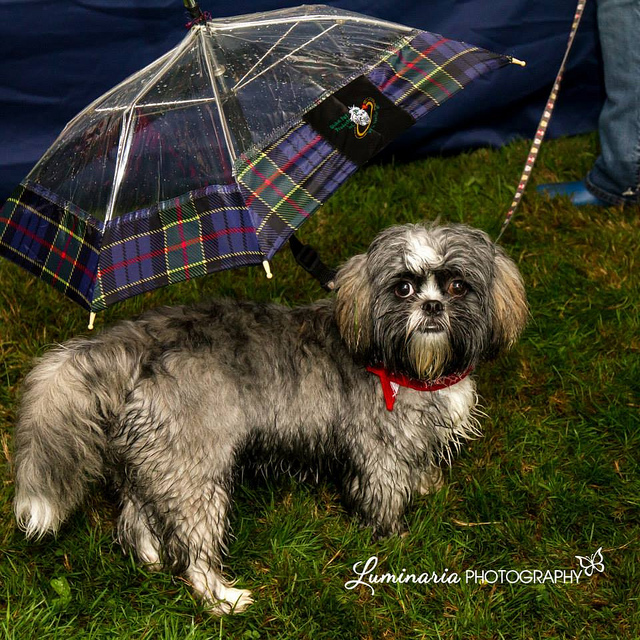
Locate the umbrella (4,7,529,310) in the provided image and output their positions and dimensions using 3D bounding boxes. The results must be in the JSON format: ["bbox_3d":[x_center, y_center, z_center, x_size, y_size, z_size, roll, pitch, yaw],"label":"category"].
[{"bbox_3d":[-0.298,-0.718,2.614,1.767,0.857,1.150,-20,28,-24],"label":"umbrella"}]

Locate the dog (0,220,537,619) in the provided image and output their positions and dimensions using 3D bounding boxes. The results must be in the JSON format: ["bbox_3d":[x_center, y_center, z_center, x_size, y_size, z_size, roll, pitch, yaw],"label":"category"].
[{"bbox_3d":[-0.189,0.496,2.785,1.887,0.914,0.597,-9,5,-24],"label":"dog"}]
